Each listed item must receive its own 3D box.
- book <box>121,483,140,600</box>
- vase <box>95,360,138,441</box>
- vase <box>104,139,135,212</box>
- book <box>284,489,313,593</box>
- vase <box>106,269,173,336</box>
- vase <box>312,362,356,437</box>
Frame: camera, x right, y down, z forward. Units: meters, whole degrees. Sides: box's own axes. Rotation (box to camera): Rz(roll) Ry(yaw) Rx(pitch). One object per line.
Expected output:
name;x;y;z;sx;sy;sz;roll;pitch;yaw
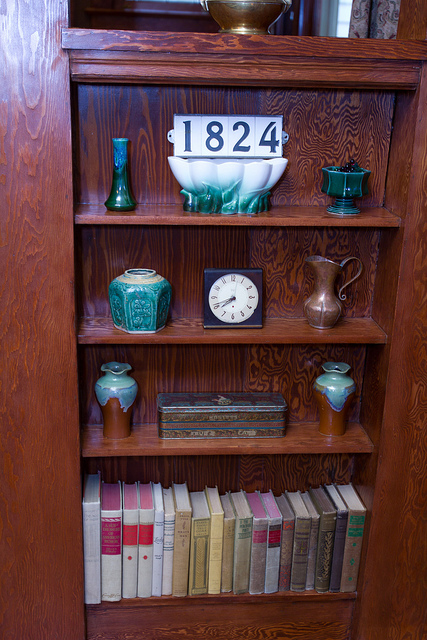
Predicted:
book;-0.271;0.629;1.668;0.061;0.183;0.188;7;10;-10
vase;-0.307;0.251;1.613;0.115;0.223;0.127;5;0;16
vase;-0.265;-0.389;1.436;0.075;0.191;0.127;-8;-24;-8
book;0.267;0.714;1.683;0.080;0.246;0.246;7;-4;-2
vase;-0.212;-0.056;1.514;0.202;0.171;0.200;-16;27;-43
vase;0.385;0.247;1.696;0.130;0.237;0.132;14;22;42
